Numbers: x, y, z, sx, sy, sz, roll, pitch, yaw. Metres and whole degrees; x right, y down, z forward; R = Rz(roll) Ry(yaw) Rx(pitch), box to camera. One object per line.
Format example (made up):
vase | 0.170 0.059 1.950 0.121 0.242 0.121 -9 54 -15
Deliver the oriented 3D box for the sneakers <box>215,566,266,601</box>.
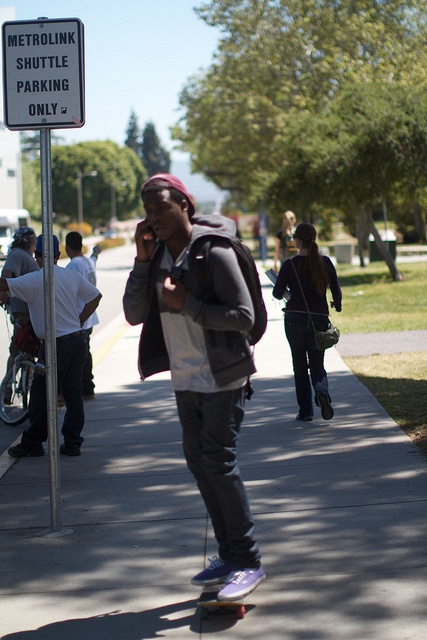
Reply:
sneakers | 0.124 1.204 4.450 0.088 0.085 0.242 -8 3 34

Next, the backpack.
backpack | 0.076 -0.132 4.433 0.313 0.517 0.080 -8 9 -24

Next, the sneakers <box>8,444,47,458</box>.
sneakers | -1.382 0.971 7.239 0.260 0.110 0.098 7 1 -11

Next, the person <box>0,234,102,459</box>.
person | -1.212 0.206 7.105 0.611 1.635 1.062 -3 8 10

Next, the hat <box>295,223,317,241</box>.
hat | 0.723 -0.692 7.638 0.137 0.150 0.158 4 22 0

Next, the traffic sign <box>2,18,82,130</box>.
traffic sign | -0.935 -1.363 5.375 0.459 0.596 0.128 -3 9 11

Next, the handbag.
handbag | 0.831 -0.117 7.708 0.208 0.741 0.362 -12 11 -42

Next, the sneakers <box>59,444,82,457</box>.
sneakers | -1.064 0.970 7.233 0.170 0.070 0.068 10 10 43

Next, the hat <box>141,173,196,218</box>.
hat | -0.200 -0.624 4.526 0.223 0.106 0.171 27 -34 -37

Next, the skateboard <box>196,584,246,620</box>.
skateboard | 0.033 1.298 4.516 0.220 0.094 0.306 -4 7 -2

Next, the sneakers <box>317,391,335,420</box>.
sneakers | 0.860 0.662 7.578 0.103 0.237 0.100 -20 1 14

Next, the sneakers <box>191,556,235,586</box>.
sneakers | 0.003 1.186 4.588 0.244 0.093 0.086 -5 8 -34
